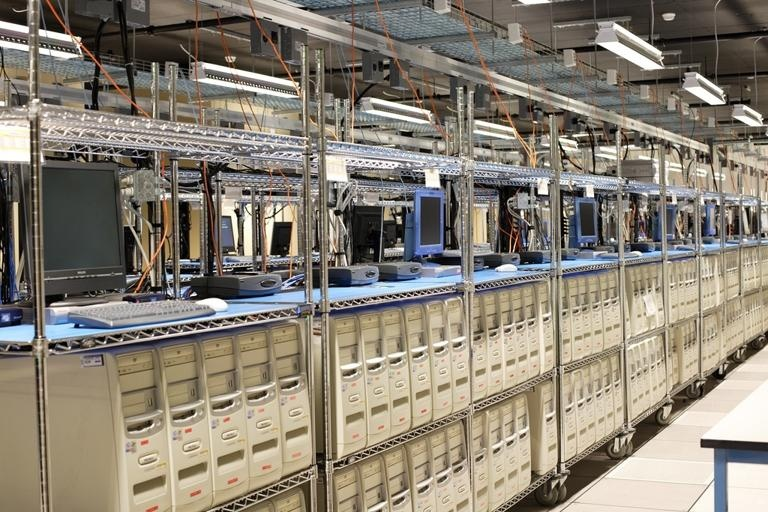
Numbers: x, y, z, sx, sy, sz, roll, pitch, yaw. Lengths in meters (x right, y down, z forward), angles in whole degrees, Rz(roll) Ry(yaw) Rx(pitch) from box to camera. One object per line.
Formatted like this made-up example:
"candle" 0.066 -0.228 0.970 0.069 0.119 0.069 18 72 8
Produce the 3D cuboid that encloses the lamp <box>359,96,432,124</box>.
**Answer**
"lamp" 0.114 -1.673 7.932 0.619 0.237 1.174 3 7 42

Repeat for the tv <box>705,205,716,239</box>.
"tv" 5.107 -0.563 10.633 0.155 0.483 0.997 0 5 26

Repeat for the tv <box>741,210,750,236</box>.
"tv" 7.248 -0.717 13.535 0.090 0.466 0.573 0 5 26

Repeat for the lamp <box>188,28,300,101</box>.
"lamp" -1.432 -1.802 6.965 0.700 0.188 1.364 0 5 18

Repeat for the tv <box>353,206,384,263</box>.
"tv" -0.144 -0.194 5.758 0.170 0.478 0.466 0 -1 20

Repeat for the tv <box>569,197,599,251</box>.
"tv" 2.176 -0.349 7.429 0.287 0.597 1.085 -1 5 15
